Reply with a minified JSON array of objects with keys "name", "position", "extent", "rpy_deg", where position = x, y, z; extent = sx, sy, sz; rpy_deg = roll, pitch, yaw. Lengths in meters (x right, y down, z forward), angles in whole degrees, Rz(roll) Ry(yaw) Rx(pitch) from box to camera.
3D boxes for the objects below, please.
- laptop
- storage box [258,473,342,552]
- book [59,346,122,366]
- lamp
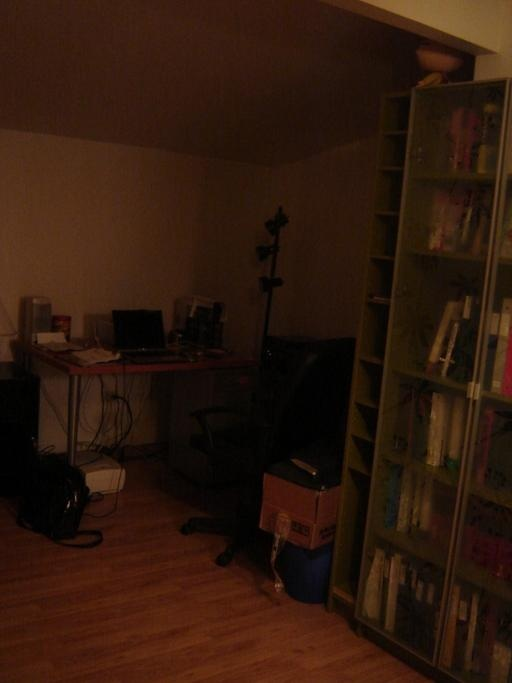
[{"name":"laptop","position":[-0.367,-0.018,1.896],"extent":[0.147,0.141,0.156],"rpy_deg":[-1,4,-37]},{"name":"storage box","position":[0.149,0.532,1.945],"extent":[0.207,0.200,0.205],"rpy_deg":[14,3,-45]},{"name":"book","position":[-0.524,0.045,1.845],"extent":[0.049,0.073,0.257],"rpy_deg":[8,7,27]},{"name":"lamp","position":[0.047,-0.233,2.042],"extent":[0.058,0.490,0.169],"rpy_deg":[8,8,37]}]
